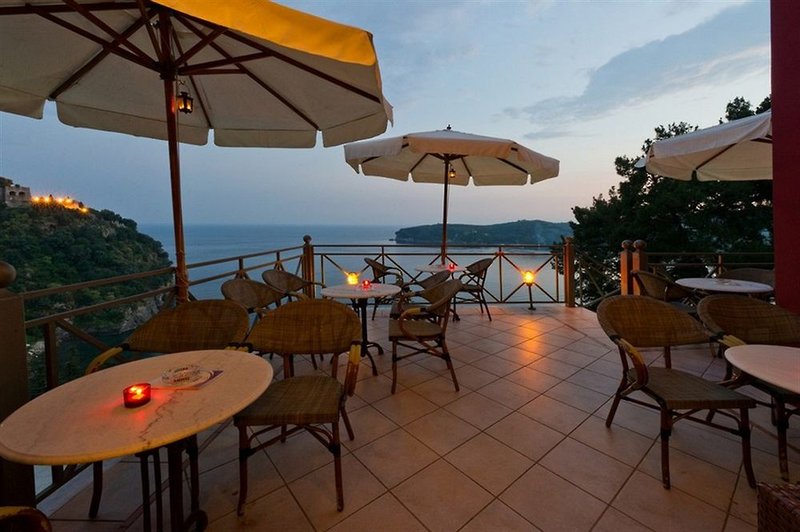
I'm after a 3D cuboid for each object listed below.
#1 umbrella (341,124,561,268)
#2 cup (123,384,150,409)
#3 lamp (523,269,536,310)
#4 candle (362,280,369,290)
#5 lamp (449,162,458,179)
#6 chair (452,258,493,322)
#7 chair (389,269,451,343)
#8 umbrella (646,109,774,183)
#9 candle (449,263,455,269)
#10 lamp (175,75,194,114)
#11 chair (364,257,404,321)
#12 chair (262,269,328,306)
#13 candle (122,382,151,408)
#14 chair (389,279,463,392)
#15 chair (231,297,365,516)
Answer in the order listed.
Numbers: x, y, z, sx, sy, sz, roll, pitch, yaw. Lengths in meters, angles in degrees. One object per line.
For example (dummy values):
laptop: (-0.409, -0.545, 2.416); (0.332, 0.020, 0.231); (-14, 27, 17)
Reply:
umbrella: (0.765, -1.223, 8.753); (2.875, 2.108, 2.916); (4, 7, -1)
cup: (-2.003, 1.004, 3.789); (0.180, 0.121, 0.175); (3, 9, 0)
lamp: (2.166, 0.380, 8.298); (0.204, 0.632, 0.681); (0, 5, 12)
candle: (-0.399, 0.224, 5.998); (0.089, 0.095, 0.059); (-3, -5, -8)
lamp: (0.814, -1.543, 7.913); (0.194, 0.280, 0.192); (-1, -8, -1)
chair: (1.074, 0.311, 7.542); (0.660, 0.774, 0.633); (-5, 11, -10)
chair: (0.265, 0.588, 5.836); (0.840, 0.813, 1.079); (-2, 8, -1)
umbrella: (3.986, -1.490, 6.411); (1.310, 0.608, 1.857); (3, 6, 36)
candle: (0.798, 0.004, 7.512); (0.084, 0.055, 0.079); (0, -3, -5)
lamp: (-2.182, -1.741, 5.029); (0.173, 0.358, 0.136); (-5, -1, -34)
chair: (-0.126, 0.325, 7.831); (0.766, 0.883, 0.747); (-8, 13, -38)
chair: (-1.377, 0.332, 6.494); (0.550, 0.697, 0.543); (2, 6, 21)
candle: (-2.003, 1.005, 3.789); (0.182, 0.124, 0.177); (-1, 11, -19)
chair: (0.246, 0.797, 5.741); (0.976, 1.117, 1.023); (-1, 4, 15)
chair: (-0.825, 1.106, 5.046); (1.534, 2.116, 1.694); (1, 0, 2)
